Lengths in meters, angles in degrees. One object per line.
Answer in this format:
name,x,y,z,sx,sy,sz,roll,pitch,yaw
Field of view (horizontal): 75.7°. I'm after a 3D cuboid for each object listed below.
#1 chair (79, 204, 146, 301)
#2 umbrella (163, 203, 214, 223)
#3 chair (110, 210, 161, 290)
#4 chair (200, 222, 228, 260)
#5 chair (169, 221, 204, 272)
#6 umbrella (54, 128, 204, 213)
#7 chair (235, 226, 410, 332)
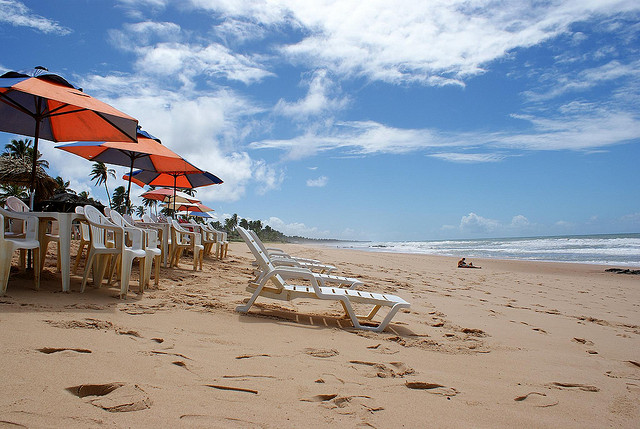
chair,-3.163,0.567,6.378,0.919,1.206,0.939,4,-2,-18
umbrella,-5.501,-0.087,17.013,1.378,0.753,1.260,0,-6,-4
chair,-3.073,0.550,6.920,0.921,1.359,0.765,3,-1,-11
chair,-2.888,0.741,11.846,0.778,0.855,0.723,1,3,16
chair,-2.938,0.650,9.089,0.749,0.926,0.702,8,1,-1
umbrella,-4.461,-1.026,9.566,2.396,1.633,2.358,11,-15,-33
chair,0.067,1.018,6.326,2.687,1.160,0.950,8,-3,-4
